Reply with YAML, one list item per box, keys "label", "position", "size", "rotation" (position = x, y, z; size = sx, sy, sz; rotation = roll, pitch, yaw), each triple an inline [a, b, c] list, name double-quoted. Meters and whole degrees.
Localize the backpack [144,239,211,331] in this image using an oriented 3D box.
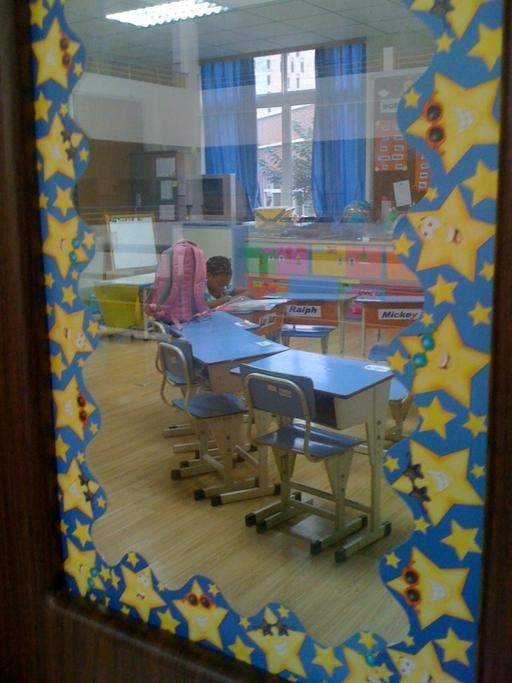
- label: "backpack"
  position: [-0.176, -0.112, 1.146]
  size: [0.134, 0.221, 0.200]
  rotation: [-3, 11, -28]
